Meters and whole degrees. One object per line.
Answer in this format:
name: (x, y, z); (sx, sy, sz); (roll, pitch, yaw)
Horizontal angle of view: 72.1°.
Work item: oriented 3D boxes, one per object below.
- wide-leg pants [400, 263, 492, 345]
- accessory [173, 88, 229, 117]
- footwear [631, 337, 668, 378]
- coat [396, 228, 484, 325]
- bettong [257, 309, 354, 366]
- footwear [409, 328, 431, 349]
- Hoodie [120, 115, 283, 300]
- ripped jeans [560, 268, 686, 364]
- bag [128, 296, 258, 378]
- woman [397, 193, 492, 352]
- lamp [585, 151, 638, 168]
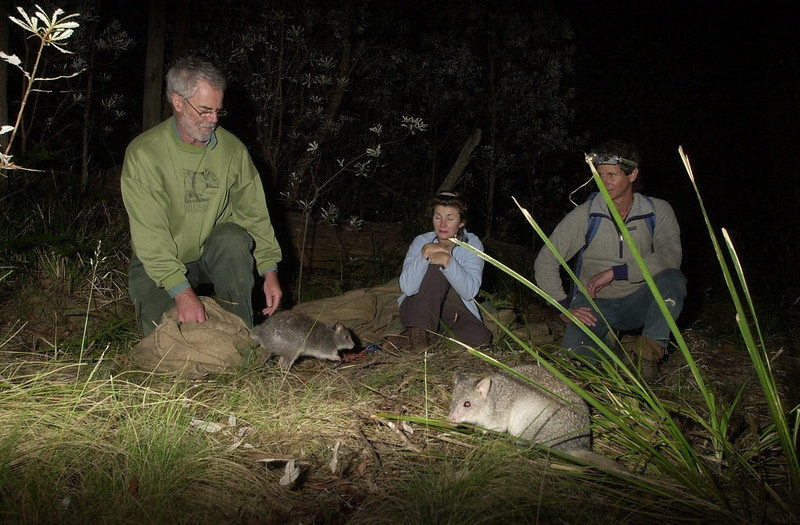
wide-leg pants: (0.370, 0.531, 6.603); (0.922, 1.343, 0.940); (-6, -7, -6)
accessory: (-2.040, -1.546, 5.451); (0.380, 0.192, 0.298); (3, 14, 32)
footwear: (2.777, 1.039, 6.046); (0.175, 0.520, 0.370); (-9, -22, -5)
coat: (0.534, 0.152, 6.570); (1.038, 1.161, 1.261); (5, 0, 18)
bettong: (-1.034, 0.730, 5.985); (1.119, 0.586, 0.446); (-4, 19, -26)
footwear: (0.207, 0.846, 6.099); (0.155, 0.261, 0.250); (2, 46, -7)
Hoodie: (-2.102, -0.639, 5.856); (1.462, 1.520, 1.187); (-10, 35, -32)
ripped jeans: (2.644, 0.588, 6.542); (1.562, 0.856, 1.699); (-15, 0, 31)
bag: (-2.028, 0.579, 5.514); (1.095, 0.389, 0.879); (29, -5, 25)
woman: (0.543, 0.085, 6.231); (0.969, 1.752, 0.825); (5, 7, -19)
lamp: (2.376, -1.134, 6.101); (0.634, 0.102, 0.239); (6, 7, -9)
